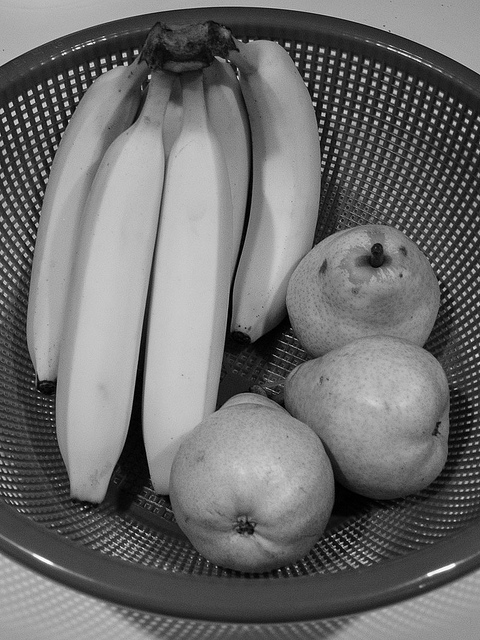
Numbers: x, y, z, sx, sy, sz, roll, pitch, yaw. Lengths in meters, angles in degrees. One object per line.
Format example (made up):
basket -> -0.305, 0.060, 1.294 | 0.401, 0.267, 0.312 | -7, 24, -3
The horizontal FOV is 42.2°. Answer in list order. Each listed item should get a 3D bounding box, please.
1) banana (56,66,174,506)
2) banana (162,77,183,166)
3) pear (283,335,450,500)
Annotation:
banana -> -0.099, -0.038, 0.499 | 0.057, 0.113, 0.321 | 6, 64, 3
banana -> -0.060, -0.183, 0.558 | 0.012, 0.021, 0.114 | 0, 81, 11
pear -> 0.103, 0.068, 0.458 | 0.108, 0.120, 0.088 | -1, 17, 44
